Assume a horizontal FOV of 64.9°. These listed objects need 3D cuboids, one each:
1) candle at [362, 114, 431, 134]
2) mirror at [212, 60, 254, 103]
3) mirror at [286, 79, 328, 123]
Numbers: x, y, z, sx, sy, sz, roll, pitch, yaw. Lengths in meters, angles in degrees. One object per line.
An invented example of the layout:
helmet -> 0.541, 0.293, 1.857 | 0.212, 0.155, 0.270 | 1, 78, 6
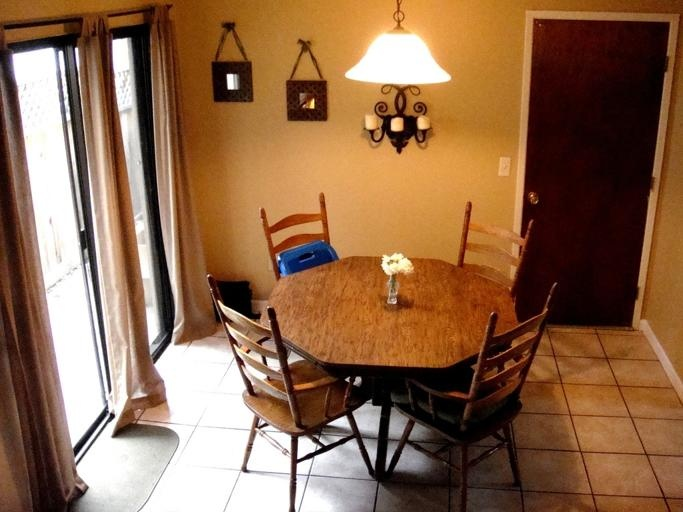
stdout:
candle -> 0.453, -1.090, 4.398 | 0.548, 0.139, 0.156 | -1, 20, 2
mirror -> -0.899, -1.462, 4.448 | 0.312, 0.328, 0.033 | 1, 21, -3
mirror -> -0.286, -1.298, 4.433 | 0.313, 0.319, 0.031 | 3, 25, 6
